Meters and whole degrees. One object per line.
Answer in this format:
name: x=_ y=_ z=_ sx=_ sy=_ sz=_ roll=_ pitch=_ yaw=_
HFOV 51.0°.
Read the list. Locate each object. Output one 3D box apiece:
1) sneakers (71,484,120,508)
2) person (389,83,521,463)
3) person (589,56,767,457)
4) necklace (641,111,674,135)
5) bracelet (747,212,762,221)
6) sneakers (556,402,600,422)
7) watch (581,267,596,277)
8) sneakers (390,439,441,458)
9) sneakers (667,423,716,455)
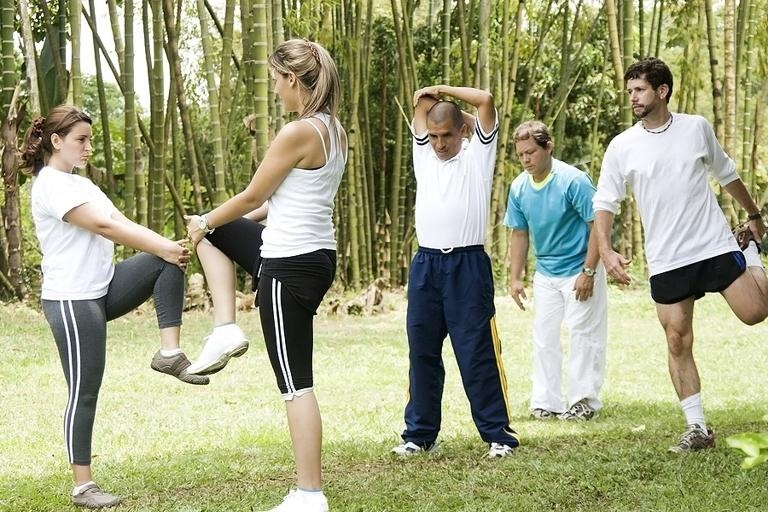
sneakers: x=-1.626 y=1.348 z=4.478 sx=0.215 sy=0.097 sz=0.128 roll=3 pitch=2 yaw=4
person: x=0.430 y=0.089 z=5.102 sx=0.784 sy=2.322 sz=0.526 roll=-1 pitch=8 yaw=8
person: x=1.837 y=-0.032 z=4.872 sx=0.991 sy=2.302 sz=0.569 roll=-2 pitch=8 yaw=-5
necklace: x=1.657 y=-0.812 z=4.838 sx=0.144 sy=0.137 sz=0.037 roll=-7 pitch=16 yaw=-2
bracelet: x=2.328 y=-0.252 z=5.055 sx=0.061 sy=0.023 sz=0.057 roll=-14 pitch=3 yaw=43
sneakers: x=1.445 y=1.140 z=5.918 sx=0.226 sy=0.095 sz=0.134 roll=2 pitch=0 yaw=-2
watch: x=1.462 y=0.107 z=5.715 sx=0.083 sy=0.051 sz=0.077 roll=2 pitch=4 yaw=13
sneakers: x=0.195 y=1.230 z=5.155 sx=0.304 sy=0.133 sz=0.107 roll=3 pitch=-4 yaw=-18
sneakers: x=1.847 y=1.104 z=4.848 sx=0.352 sy=0.158 sz=0.124 roll=-1 pitch=-5 yaw=-21
